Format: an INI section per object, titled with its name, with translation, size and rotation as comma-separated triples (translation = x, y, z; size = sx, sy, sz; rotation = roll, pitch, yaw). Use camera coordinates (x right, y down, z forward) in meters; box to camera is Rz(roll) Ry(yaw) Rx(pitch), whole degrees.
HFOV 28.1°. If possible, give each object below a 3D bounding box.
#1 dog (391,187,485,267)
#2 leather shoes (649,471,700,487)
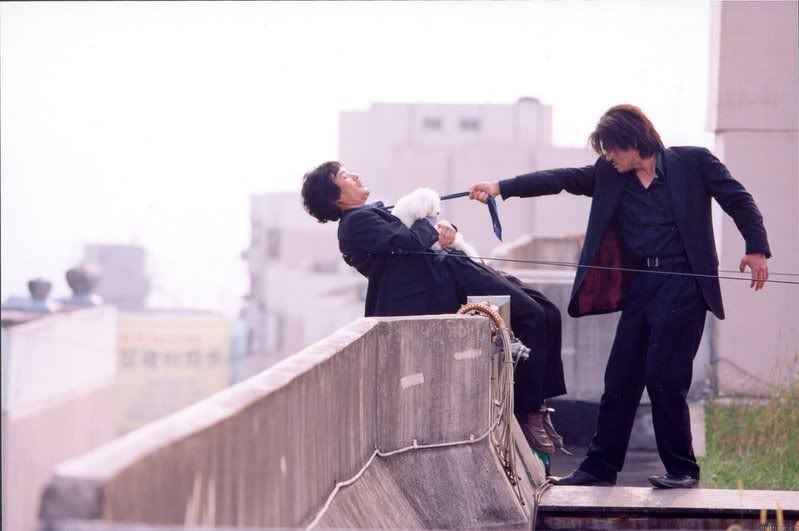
[dog]
translation = 0.499, -0.590, 22.426
size = 1.182, 0.731, 0.593
rotation = 1, 4, 43
[leather shoes]
translation = 3.746, 2.965, 22.019
size = 0.662, 0.293, 0.251
rotation = 6, -13, 0
